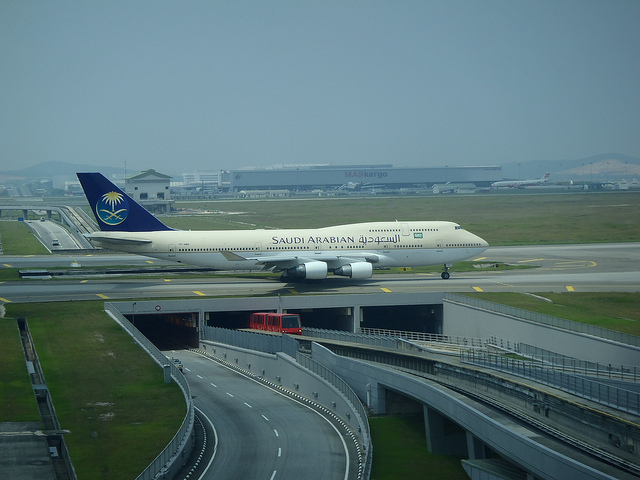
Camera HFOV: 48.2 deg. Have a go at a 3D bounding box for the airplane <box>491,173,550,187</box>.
[{"bbox_3d":[84.953,-24.558,300.718,19.810,6.298,31.212,8,9,26],"label":"airplane"}]

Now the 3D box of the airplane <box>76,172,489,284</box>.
[{"bbox_3d":[-7.816,-1.707,100.930,50.018,14.172,42.916,2,8,-11],"label":"airplane"}]
